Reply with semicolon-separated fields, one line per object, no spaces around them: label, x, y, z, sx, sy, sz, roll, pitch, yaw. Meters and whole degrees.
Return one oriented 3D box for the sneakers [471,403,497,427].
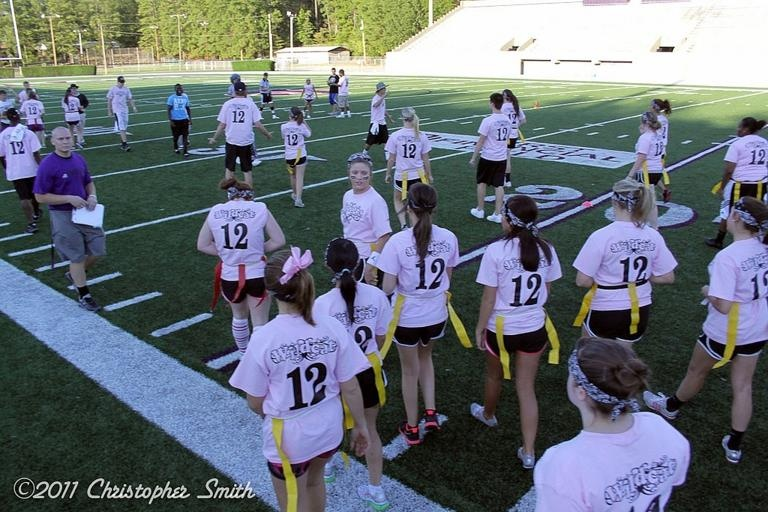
sneakers;0.957;1.541;4.798;0.139;0.106;0.272;-15;34;-20

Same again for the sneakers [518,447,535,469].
sneakers;1.245;1.776;4.347;0.102;0.090;0.221;0;9;4

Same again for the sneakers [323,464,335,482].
sneakers;-0.474;1.892;4.347;0.086;0.088;0.194;-1;23;-1

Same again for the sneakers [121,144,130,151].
sneakers;-7.949;-3.336;15.154;0.184;0.198;0.484;-13;14;-33

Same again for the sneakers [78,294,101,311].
sneakers;-3.941;0.602;6.678;0.371;0.172;0.148;18;32;24

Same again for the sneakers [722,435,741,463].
sneakers;3.078;1.711;4.440;0.118;0.119;0.289;-1;23;16

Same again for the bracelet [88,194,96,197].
bracelet;-3.891;-0.816;6.606;0.072;0.024;0.073;6;4;44

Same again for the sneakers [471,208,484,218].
sneakers;1.795;-0.845;9.620;0.132;0.123;0.300;-3;21;-8

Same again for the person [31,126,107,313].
person;-4.126;-0.508;6.561;0.666;2.279;0.955;-15;28;-29

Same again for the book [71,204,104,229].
book;-3.897;-0.531;6.527;0.381;0.225;0.266;-18;29;-35
